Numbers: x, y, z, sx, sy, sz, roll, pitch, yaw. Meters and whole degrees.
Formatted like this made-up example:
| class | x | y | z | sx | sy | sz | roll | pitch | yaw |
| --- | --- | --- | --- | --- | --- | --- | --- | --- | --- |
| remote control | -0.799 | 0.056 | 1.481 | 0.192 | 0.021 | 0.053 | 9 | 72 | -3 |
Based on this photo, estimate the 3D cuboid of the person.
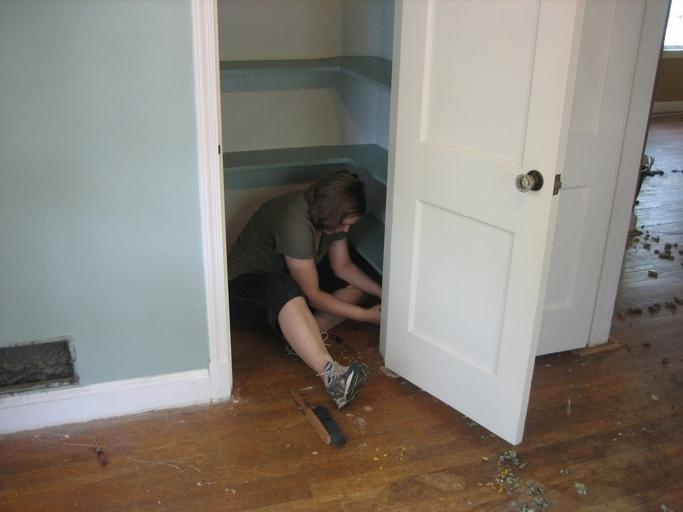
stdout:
| class | x | y | z | sx | sy | sz | roll | pitch | yaw |
| --- | --- | --- | --- | --- | --- | --- | --- | --- | --- |
| person | -0.119 | 0.155 | 2.623 | 0.692 | 1.167 | 0.789 | -3 | 23 | -21 |

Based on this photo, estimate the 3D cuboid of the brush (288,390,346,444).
| class | x | y | z | sx | sy | sz | roll | pitch | yaw |
| --- | --- | --- | --- | --- | --- | --- | --- | --- | --- |
| brush | -0.099 | 0.695 | 2.365 | 0.111 | 0.049 | 0.375 | -15 | 28 | -28 |

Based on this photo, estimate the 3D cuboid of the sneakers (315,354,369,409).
| class | x | y | z | sx | sy | sz | roll | pitch | yaw |
| --- | --- | --- | --- | --- | --- | --- | --- | --- | --- |
| sneakers | 0.008 | 0.542 | 2.358 | 0.215 | 0.209 | 0.194 | -6 | 25 | -29 |
